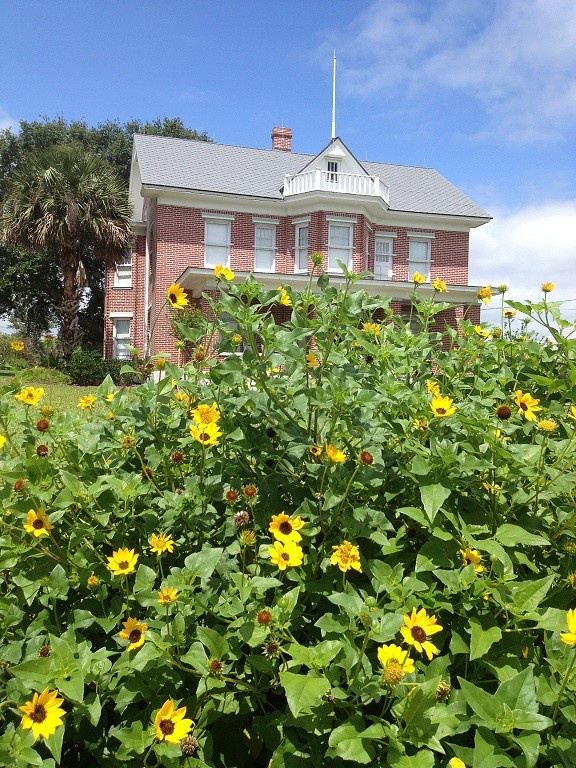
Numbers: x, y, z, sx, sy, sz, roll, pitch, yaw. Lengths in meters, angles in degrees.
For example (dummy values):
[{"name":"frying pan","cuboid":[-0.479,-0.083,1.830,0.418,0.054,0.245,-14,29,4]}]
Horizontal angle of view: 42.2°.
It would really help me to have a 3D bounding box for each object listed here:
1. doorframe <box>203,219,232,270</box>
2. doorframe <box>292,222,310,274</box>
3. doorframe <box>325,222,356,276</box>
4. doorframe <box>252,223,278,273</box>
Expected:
[{"name":"doorframe","cuboid":[-2.055,-4.048,21.436,0.806,1.401,0.109,1,-1,-16]},{"name":"doorframe","cuboid":[0.469,-4.022,21.888,0.580,1.398,0.127,3,1,43]},{"name":"doorframe","cuboid":[1.474,-4.006,21.538,0.787,1.347,0.172,3,-1,-8]},{"name":"doorframe","cuboid":[-0.704,-4.063,22.109,0.758,1.341,0.158,9,14,26]}]
